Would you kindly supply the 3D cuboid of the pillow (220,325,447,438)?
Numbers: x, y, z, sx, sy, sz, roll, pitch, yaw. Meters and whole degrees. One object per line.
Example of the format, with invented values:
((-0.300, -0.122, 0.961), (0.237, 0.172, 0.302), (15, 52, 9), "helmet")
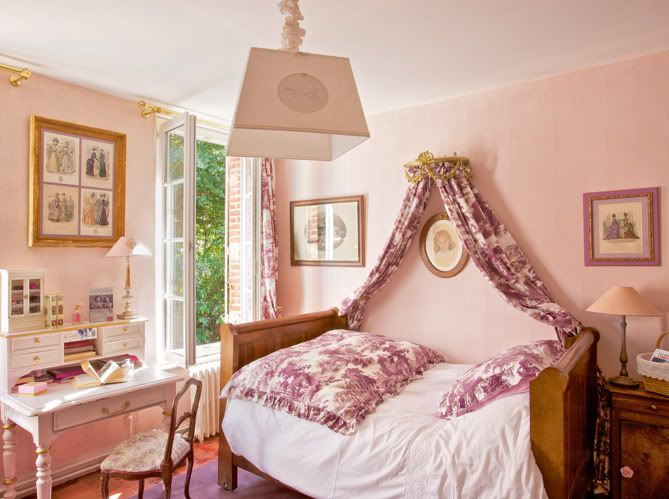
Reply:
((-0.046, 0.901, 3.172), (0.695, 0.180, 0.844), (1, 9, 38), "pillow")

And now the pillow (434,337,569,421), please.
((1.100, 0.819, 2.989), (0.922, 0.455, 0.496), (-2, -1, -25), "pillow")

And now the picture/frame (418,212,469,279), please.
((0.918, -0.015, 3.999), (0.098, 0.480, 0.460), (-4, 0, -39), "picture/frame")

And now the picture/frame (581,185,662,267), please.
((2.079, -0.170, 3.404), (0.569, 0.729, 0.071), (0, -2, 30), "picture/frame")
